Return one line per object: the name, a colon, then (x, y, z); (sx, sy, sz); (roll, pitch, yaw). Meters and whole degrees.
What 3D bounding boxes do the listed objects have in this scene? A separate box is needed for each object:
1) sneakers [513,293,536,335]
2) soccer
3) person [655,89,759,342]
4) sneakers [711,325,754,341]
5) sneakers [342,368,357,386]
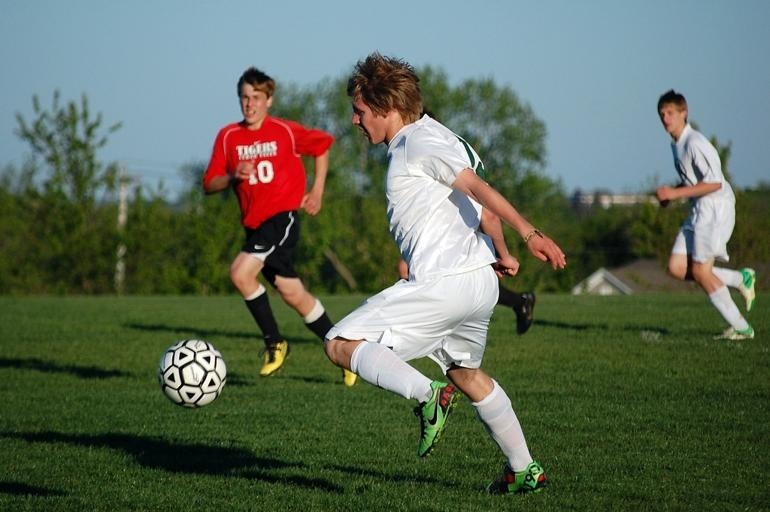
sneakers: (1.865, 0.801, 18.438); (0.205, 0.657, 0.262); (10, 15, 26)
soccer: (-2.190, 1.361, 15.535); (0.740, 0.738, 0.415); (-4, 14, -11)
person: (4.144, -0.495, 17.579); (1.273, 3.210, 1.165); (2, 14, 13)
sneakers: (4.460, 0.974, 17.416); (0.492, 0.237, 0.207); (0, -3, 8)
sneakers: (-0.423, 1.467, 16.572); (0.151, 0.204, 0.430); (-2, -4, -17)
